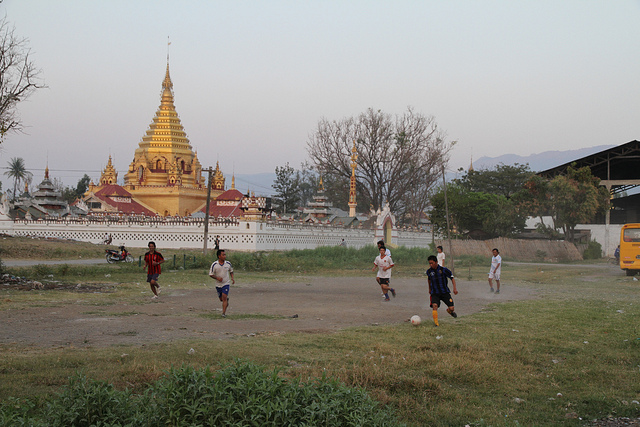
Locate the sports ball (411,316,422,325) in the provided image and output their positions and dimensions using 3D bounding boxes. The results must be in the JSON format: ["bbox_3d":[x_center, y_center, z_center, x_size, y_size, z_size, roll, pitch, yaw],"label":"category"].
[{"bbox_3d":[2.862,3.149,20.259,0.236,0.225,0.230,-1,1,0],"label":"sports ball"}]
